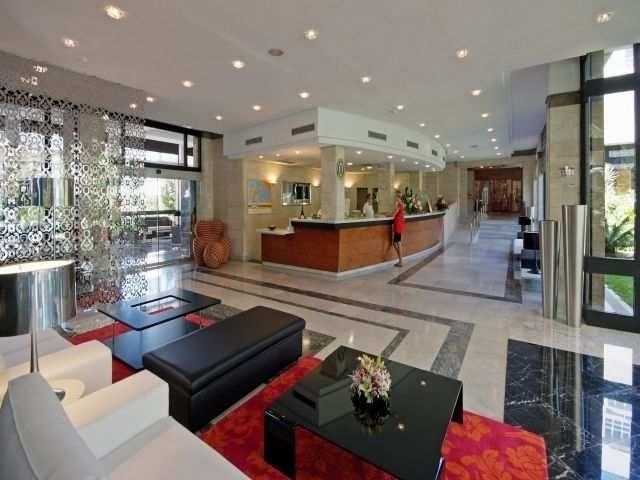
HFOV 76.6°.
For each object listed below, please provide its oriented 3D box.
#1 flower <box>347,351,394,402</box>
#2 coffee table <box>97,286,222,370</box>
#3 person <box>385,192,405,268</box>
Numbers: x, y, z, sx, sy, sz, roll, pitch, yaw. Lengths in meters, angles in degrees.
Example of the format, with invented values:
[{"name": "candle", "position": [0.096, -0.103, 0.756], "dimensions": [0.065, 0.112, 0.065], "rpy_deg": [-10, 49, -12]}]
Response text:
[{"name": "flower", "position": [0.443, 1.176, 3.482], "dimensions": [0.268, 0.302, 0.371], "rpy_deg": [2, 5, 11]}, {"name": "coffee table", "position": [-2.112, 1.053, 5.090], "dimensions": [0.779, 0.460, 1.170], "rpy_deg": [16, 13, 28]}, {"name": "person", "position": [1.784, -0.170, 9.601], "dimensions": [0.358, 1.508, 0.676], "rpy_deg": [-1, 7, 9]}]
